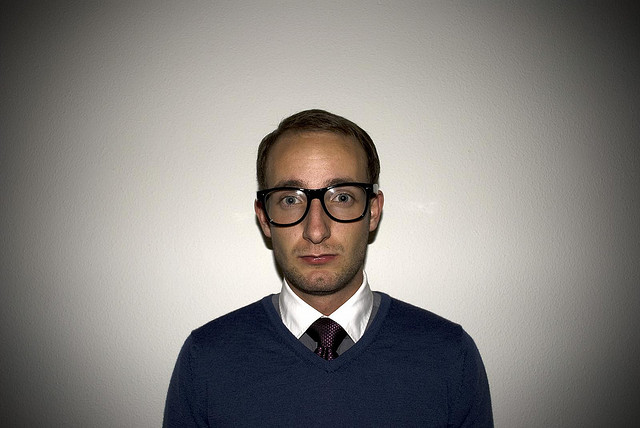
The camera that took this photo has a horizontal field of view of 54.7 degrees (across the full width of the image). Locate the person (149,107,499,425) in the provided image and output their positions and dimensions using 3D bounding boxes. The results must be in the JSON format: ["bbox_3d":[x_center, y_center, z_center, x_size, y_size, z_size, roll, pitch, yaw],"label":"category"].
[{"bbox_3d":[-0.044,0.266,2.893,1.525,1.386,0.728,-1,-10,-1],"label":"person"}]

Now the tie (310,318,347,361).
[{"bbox_3d":[0.036,0.550,2.695,0.149,0.151,0.038,2,-13,1],"label":"tie"}]
